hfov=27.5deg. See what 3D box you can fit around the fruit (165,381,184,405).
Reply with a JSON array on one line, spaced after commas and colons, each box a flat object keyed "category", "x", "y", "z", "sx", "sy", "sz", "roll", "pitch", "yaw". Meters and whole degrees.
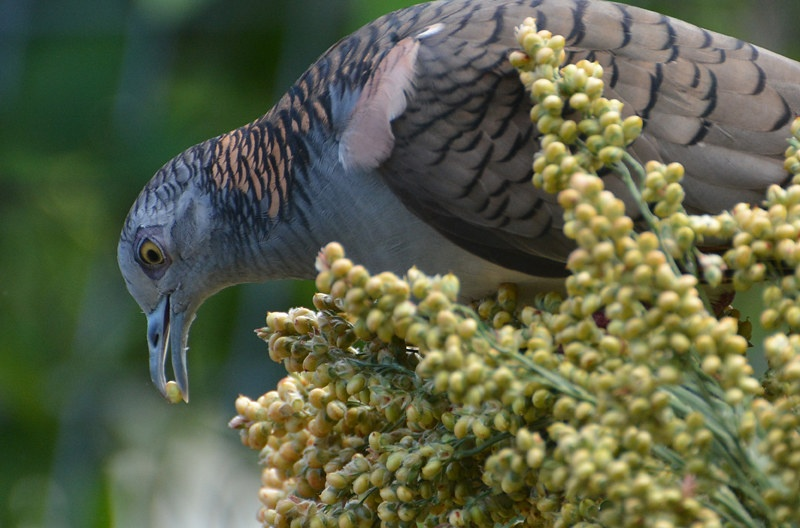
[{"category": "fruit", "x": -0.630, "y": 0.364, "z": 4.537, "sx": 0.037, "sy": 0.061, "sz": 0.044, "roll": -18, "pitch": -10, "yaw": -15}]
